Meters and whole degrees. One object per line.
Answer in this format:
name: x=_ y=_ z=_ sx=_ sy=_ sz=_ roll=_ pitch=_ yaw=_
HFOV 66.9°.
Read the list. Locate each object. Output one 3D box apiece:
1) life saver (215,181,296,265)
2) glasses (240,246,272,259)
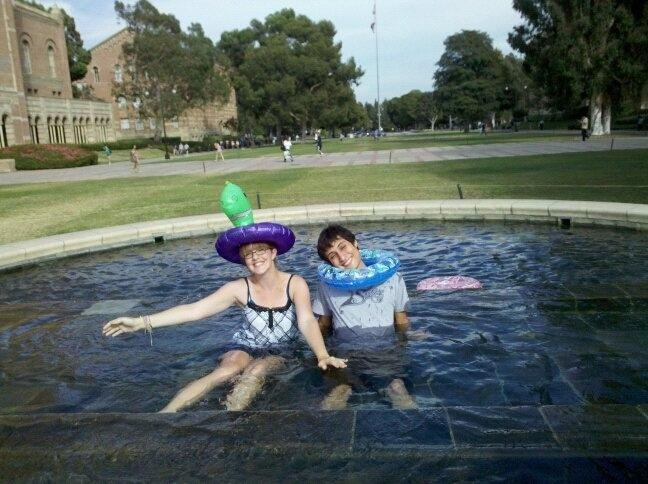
life saver: x=-0.701 y=-0.118 z=4.417 sx=0.559 sy=0.789 sz=0.733 roll=-18 pitch=20 yaw=-42
glasses: x=-0.600 y=0.068 z=4.332 sx=0.284 sy=0.126 sz=0.115 roll=-5 pitch=15 yaw=-6
